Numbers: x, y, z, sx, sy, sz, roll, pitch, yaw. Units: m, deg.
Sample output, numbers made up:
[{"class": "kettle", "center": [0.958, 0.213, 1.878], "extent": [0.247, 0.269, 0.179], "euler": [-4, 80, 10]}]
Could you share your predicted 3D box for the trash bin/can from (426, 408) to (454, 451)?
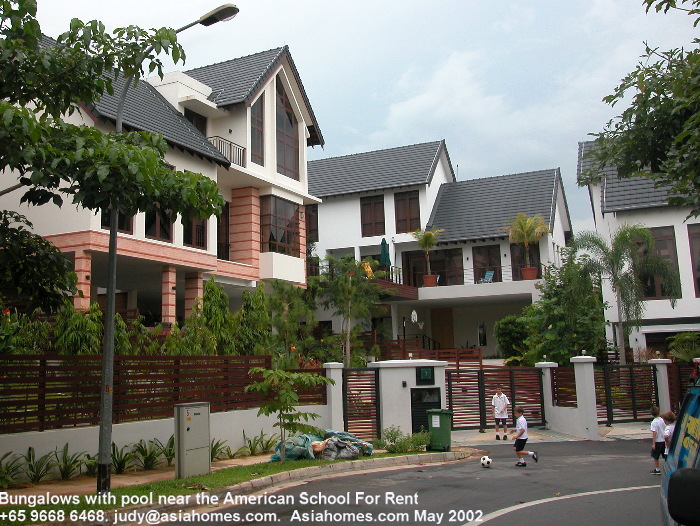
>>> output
[{"class": "trash bin/can", "center": [2.689, 4.671, 17.914], "extent": [0.717, 1.430, 0.964], "euler": [-3, -8, 25]}]

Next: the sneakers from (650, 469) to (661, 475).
[{"class": "sneakers", "center": [6.776, 4.620, 13.998], "extent": [0.256, 0.136, 0.112], "euler": [0, -1, 21]}]

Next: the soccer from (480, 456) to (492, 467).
[{"class": "soccer", "center": [3.334, 4.811, 15.374], "extent": [0.266, 0.309, 0.287], "euler": [2, -2, 0]}]

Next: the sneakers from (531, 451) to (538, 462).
[{"class": "sneakers", "center": [4.665, 4.942, 15.944], "extent": [0.141, 0.404, 0.140], "euler": [-8, 27, 11]}]

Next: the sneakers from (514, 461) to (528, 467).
[{"class": "sneakers", "center": [4.165, 4.916, 15.505], "extent": [0.127, 0.140, 0.301], "euler": [3, -5, -28]}]
